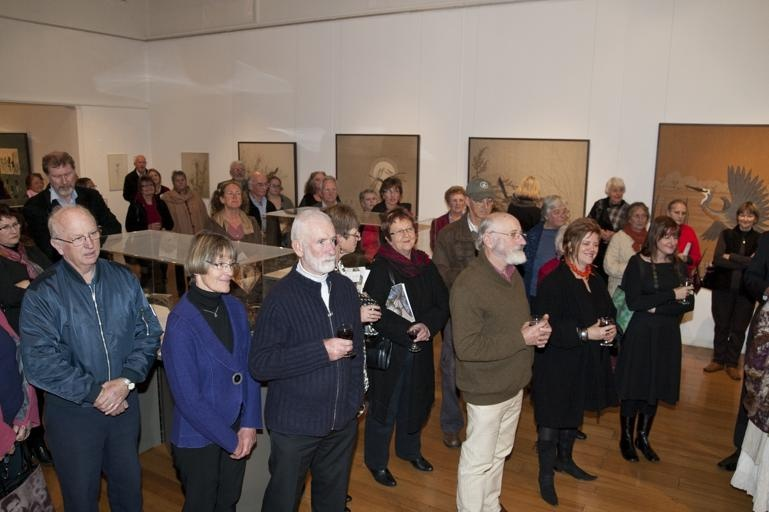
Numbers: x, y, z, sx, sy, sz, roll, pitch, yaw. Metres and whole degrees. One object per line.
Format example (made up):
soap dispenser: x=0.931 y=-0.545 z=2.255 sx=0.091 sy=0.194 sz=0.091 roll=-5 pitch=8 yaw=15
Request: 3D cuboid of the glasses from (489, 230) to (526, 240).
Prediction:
glasses: x=0.998 y=-0.166 z=4.486 sx=0.299 sy=0.066 sz=0.109 roll=-2 pitch=11 yaw=-18

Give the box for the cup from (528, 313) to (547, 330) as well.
cup: x=1.208 y=0.510 z=4.473 sx=0.088 sy=0.102 sz=0.115 roll=1 pitch=0 yaw=-19

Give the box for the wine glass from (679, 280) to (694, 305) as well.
wine glass: x=2.870 y=0.341 z=5.372 sx=0.088 sy=0.228 sz=0.242 roll=9 pitch=13 yaw=37

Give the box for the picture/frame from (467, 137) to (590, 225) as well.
picture/frame: x=2.102 y=-1.050 z=7.854 sx=1.466 sy=1.149 sz=0.050 roll=5 pitch=8 yaw=31

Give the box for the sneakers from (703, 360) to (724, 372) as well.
sneakers: x=4.256 y=1.427 z=7.366 sx=0.291 sy=0.125 sz=0.111 roll=-2 pitch=8 yaw=-8

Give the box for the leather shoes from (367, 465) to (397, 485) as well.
leather shoes: x=-0.010 y=2.059 z=5.279 sx=0.263 sy=0.117 sz=0.126 roll=15 pitch=24 yaw=33

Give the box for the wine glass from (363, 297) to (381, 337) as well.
wine glass: x=-0.126 y=0.509 z=4.754 sx=0.206 sy=0.291 sz=0.252 roll=1 pitch=3 yaw=21

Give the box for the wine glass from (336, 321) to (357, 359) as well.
wine glass: x=-0.274 y=0.636 z=4.169 sx=0.150 sy=0.296 sz=0.260 roll=1 pitch=10 yaw=-2

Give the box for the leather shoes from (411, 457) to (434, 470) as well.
leather shoes: x=0.374 y=2.001 z=5.474 sx=0.200 sy=0.088 sz=0.101 roll=6 pitch=15 yaw=29

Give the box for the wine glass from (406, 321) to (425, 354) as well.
wine glass: x=0.254 y=0.713 z=4.822 sx=0.180 sy=0.334 sz=0.213 roll=-1 pitch=1 yaw=2

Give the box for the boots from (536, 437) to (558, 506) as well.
boots: x=1.506 y=1.891 z=5.178 sx=0.220 sy=0.611 sz=0.371 roll=5 pitch=11 yaw=16

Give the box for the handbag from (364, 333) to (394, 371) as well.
handbag: x=-0.050 y=0.789 z=4.704 sx=0.328 sy=0.342 sz=0.146 roll=2 pitch=0 yaw=37

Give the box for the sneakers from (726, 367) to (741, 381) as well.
sneakers: x=4.439 y=1.498 z=7.191 sx=0.098 sy=0.073 sz=0.188 roll=-10 pitch=10 yaw=-6

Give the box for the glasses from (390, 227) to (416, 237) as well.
glasses: x=0.165 y=-0.210 z=4.982 sx=0.208 sy=0.069 sz=0.076 roll=1 pitch=10 yaw=-4
